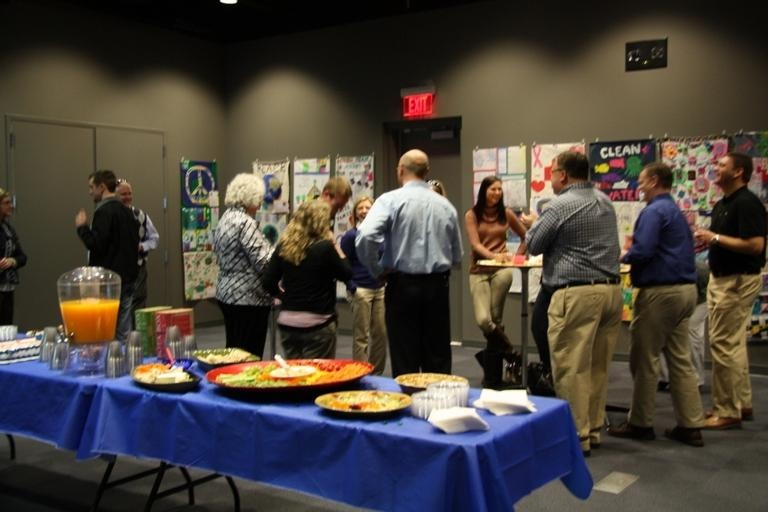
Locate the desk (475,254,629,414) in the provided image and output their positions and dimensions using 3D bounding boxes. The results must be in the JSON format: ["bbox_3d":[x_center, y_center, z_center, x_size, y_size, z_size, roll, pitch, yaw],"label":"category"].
[{"bbox_3d":[1.425,0.668,5.386,1.213,1.485,1.181,0,-3,-8],"label":"desk"}]

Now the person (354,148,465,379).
[{"bbox_3d":[0.171,0.055,3.924,0.689,1.566,0.352,1,6,13],"label":"person"}]

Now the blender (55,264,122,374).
[{"bbox_3d":[-1.748,0.404,3.410,0.357,0.624,0.374,-2,-4,-9],"label":"blender"}]

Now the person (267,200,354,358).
[{"bbox_3d":[-0.544,0.163,3.957,0.598,1.108,0.376,4,7,38],"label":"person"}]

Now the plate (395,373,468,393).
[{"bbox_3d":[0.203,0.640,2.886,0.159,0.035,0.164,3,4,30],"label":"plate"}]

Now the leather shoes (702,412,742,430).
[{"bbox_3d":[2.862,1.408,4.850,0.334,0.151,0.159,5,-2,7],"label":"leather shoes"}]

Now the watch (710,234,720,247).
[{"bbox_3d":[2.793,-0.144,4.779,0.066,0.100,0.091,0,-2,12],"label":"watch"}]
